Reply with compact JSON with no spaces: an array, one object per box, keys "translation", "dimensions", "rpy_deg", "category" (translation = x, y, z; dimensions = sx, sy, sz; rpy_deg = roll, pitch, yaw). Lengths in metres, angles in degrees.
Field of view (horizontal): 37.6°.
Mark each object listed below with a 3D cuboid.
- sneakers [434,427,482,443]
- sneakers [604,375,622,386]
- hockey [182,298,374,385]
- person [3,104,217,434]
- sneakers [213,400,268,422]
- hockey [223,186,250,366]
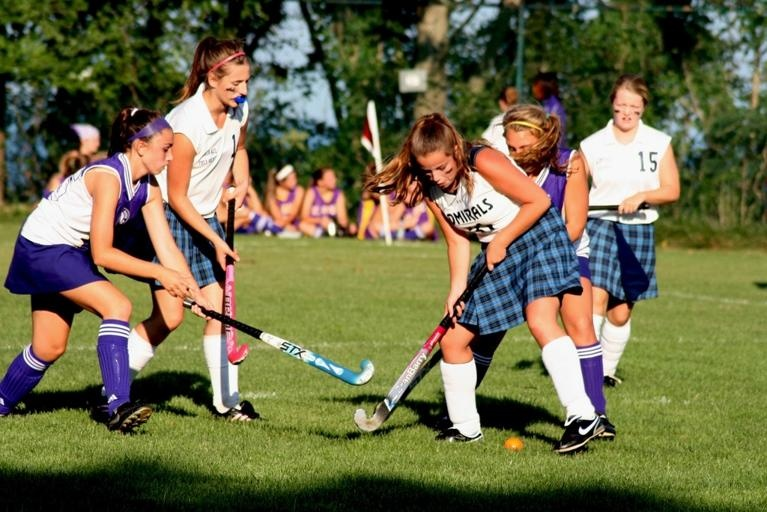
[{"translation":[0.532,1.335,8.166],"dimensions":[0.320,0.101,0.127],"rpy_deg":[6,-16,-1],"category":"sneakers"},{"translation":[1.856,1.027,9.220],"dimensions":[0.108,0.042,0.155],"rpy_deg":[1,0,8],"category":"sneakers"},{"translation":[-0.929,0.758,9.625],"dimensions":[1.288,0.138,0.193],"rpy_deg":[26,35,21],"category":"hockey"},{"translation":[-2.080,0.103,8.120],"dimensions":[1.392,2.288,0.867],"rpy_deg":[-1,13,-10],"category":"person"},{"translation":[-1.120,1.190,8.569],"dimensions":[0.355,0.134,0.129],"rpy_deg":[-3,-5,35],"category":"sneakers"},{"translation":[-1.167,0.284,8.576],"dimensions":[0.157,1.365,0.156],"rpy_deg":[-2,4,16],"category":"hockey"}]
